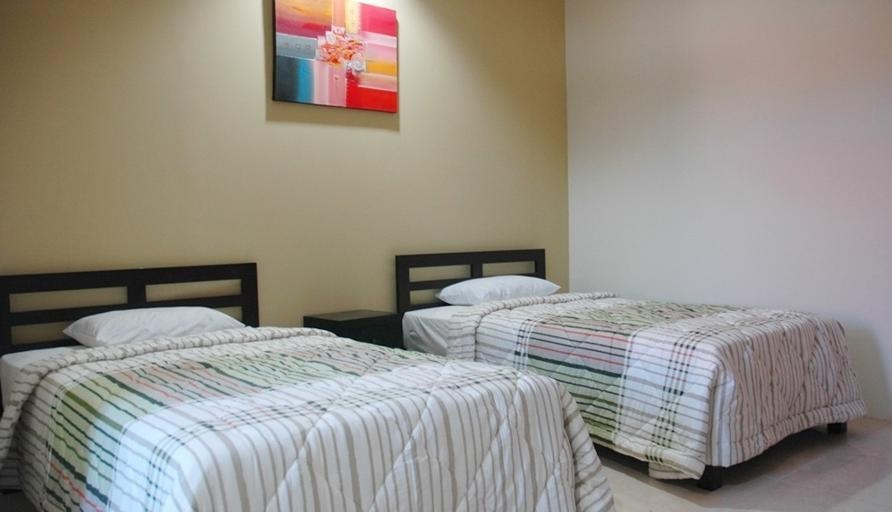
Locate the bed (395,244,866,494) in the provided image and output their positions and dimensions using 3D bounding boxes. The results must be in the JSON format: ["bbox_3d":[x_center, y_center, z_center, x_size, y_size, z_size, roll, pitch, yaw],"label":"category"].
[{"bbox_3d":[1.112,0.721,4.615,1.657,0.954,2.312,-2,1,-40],"label":"bed"}]
